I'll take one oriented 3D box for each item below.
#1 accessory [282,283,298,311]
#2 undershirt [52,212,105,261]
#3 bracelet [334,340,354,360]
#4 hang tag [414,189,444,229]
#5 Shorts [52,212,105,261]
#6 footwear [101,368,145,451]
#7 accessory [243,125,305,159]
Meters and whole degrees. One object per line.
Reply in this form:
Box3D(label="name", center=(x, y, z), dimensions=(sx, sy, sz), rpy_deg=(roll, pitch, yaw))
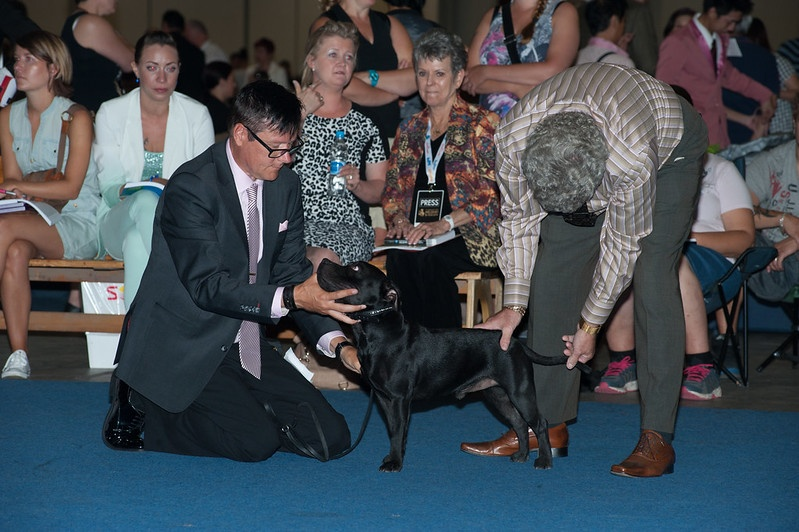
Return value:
Box3D(label="accessory", center=(-0.607, 0.181, 3.917), dimensions=(0.076, 0.145, 0.068), rpy_deg=(-1, 12, -10))
Box3D(label="undershirt", center=(-2.606, -0.225, 5.773), dimensions=(0.257, 0.397, 0.159), rpy_deg=(-3, 10, -8))
Box3D(label="bracelet", center=(-0.321, 0.489, 4.132), dimensions=(0.048, 0.092, 0.102), rpy_deg=(29, -29, 15))
Box3D(label="hang tag", center=(0.236, -0.430, 5.461), dimensions=(0.297, 0.392, 0.020), rpy_deg=(5, 0, 13))
Box3D(label="Shorts", center=(-2.703, -0.316, 5.922), dimensions=(0.392, 0.245, 0.639), rpy_deg=(6, -8, -17))
Box3D(label="footwear", center=(-1.645, 0.809, 4.285), dimensions=(0.197, 0.534, 0.231), rpy_deg=(2, -28, -35))
Box3D(label="accessory", center=(-0.731, -0.646, 3.941), dimensions=(0.197, 0.053, 0.198), rpy_deg=(38, 22, 25))
